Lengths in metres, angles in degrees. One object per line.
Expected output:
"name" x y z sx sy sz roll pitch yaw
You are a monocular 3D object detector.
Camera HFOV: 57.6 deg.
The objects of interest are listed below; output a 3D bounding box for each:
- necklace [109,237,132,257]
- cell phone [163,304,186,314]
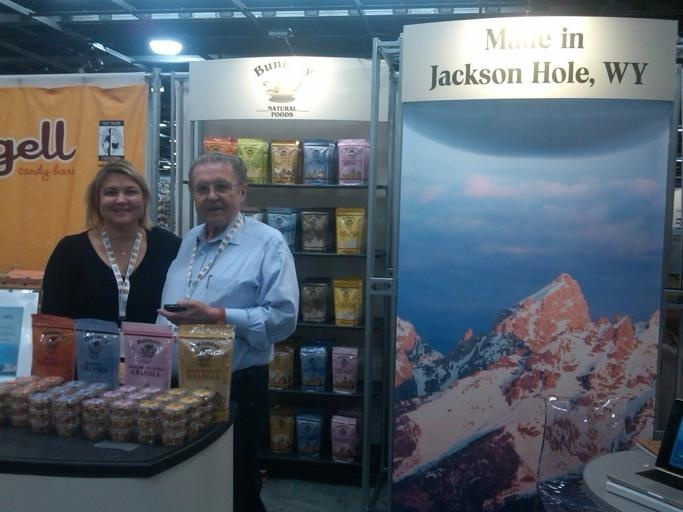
"necklace" -1.174 -0.036 3.276 0.082 0.066 0.089 -10 -22 18
"cell phone" -0.747 0.233 2.754 0.111 0.043 0.051 2 3 24
